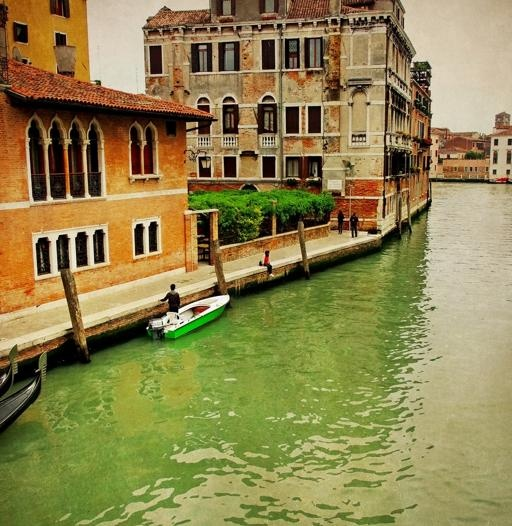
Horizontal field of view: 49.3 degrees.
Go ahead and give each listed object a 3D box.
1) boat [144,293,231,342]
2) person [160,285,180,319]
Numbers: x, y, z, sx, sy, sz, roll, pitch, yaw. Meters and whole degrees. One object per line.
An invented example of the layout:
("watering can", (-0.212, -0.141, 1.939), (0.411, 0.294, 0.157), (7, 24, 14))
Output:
("boat", (-2.462, 2.025, 20.791), (1.005, 0.669, 3.312), (16, 26, 27))
("person", (-3.180, 1.454, 20.626), (0.693, 1.546, 0.424), (5, 28, 1))
